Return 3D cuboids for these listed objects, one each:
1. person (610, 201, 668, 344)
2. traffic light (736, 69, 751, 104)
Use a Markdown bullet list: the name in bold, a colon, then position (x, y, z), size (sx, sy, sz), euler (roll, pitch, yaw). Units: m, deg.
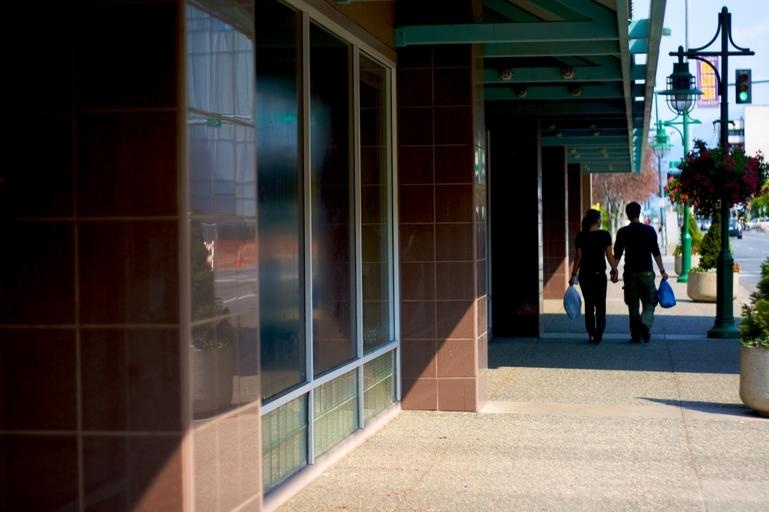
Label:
- **person**: position (4.343, 0.294, 12.413), size (0.768, 2.465, 0.657), euler (0, 6, 18)
- **traffic light**: position (8.198, -3.854, 16.500), size (0.403, 0.792, 0.390), euler (-4, 5, -44)
